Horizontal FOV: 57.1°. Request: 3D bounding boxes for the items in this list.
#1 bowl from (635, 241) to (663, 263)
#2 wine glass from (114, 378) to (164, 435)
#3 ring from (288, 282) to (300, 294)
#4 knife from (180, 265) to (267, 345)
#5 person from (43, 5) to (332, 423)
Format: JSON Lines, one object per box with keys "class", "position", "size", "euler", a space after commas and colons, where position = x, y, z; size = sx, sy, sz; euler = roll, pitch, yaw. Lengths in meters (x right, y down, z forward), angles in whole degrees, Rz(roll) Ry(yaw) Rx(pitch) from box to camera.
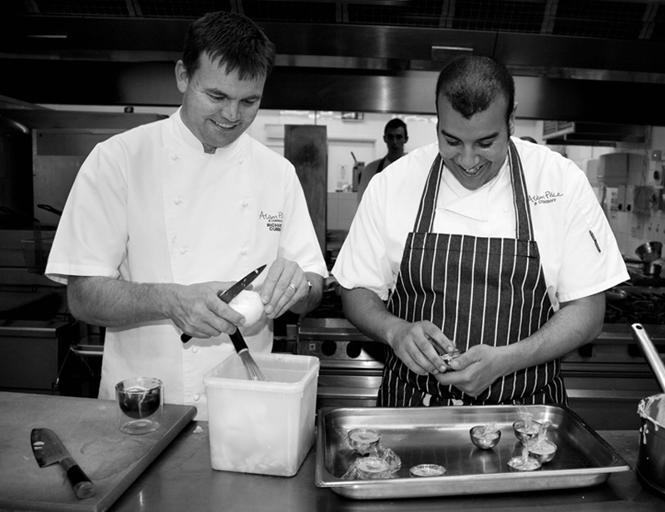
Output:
{"class": "bowl", "position": [1.959, -0.021, 3.737], "size": [0.127, 0.129, 0.242], "euler": [1, 10, 6]}
{"class": "wine glass", "position": [-0.473, 0.369, 1.504], "size": [0.128, 0.138, 0.121], "euler": [-3, 10, -31]}
{"class": "ring", "position": [-0.105, 0.088, 1.706], "size": [0.019, 0.025, 0.025], "euler": [8, 2, -13]}
{"class": "knife", "position": [-0.306, 0.124, 1.653], "size": [0.343, 0.055, 0.041], "euler": [-37, -18, -22]}
{"class": "person", "position": [-0.397, -0.105, 1.837], "size": [0.685, 1.172, 0.570], "euler": [3, 11, 19]}
